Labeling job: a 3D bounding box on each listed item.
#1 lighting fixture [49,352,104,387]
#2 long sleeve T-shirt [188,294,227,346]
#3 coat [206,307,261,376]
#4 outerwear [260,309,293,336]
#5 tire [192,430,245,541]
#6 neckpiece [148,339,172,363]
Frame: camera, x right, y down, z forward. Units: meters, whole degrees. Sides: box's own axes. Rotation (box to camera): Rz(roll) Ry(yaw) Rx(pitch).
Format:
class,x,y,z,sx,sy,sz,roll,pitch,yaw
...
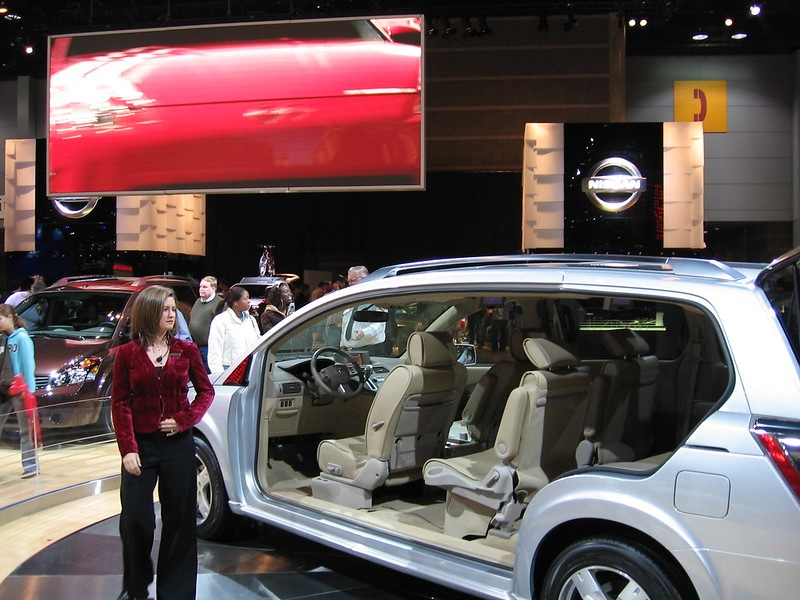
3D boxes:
class,x,y,z,sx,sy,sz,roll,pitch,yaw
lighting fixture,-3.298,0.700,6.270,0.391,0.164,0.244,-15,11,-42
long sleeve T-shirt,-2.268,0.238,7.194,0.545,0.610,0.340,8,7,29
coat,-1.517,0.384,5.565,0.250,0.565,0.609,7,8,34
outerwear,-1.053,0.185,5.197,0.249,0.261,0.141,2,16,12
tire,-1.277,1.261,4.156,0.195,0.670,0.631,1,-11,-33
neckpiece,-1.267,0.278,3.230,0.099,0.107,0.034,10,-8,-16
